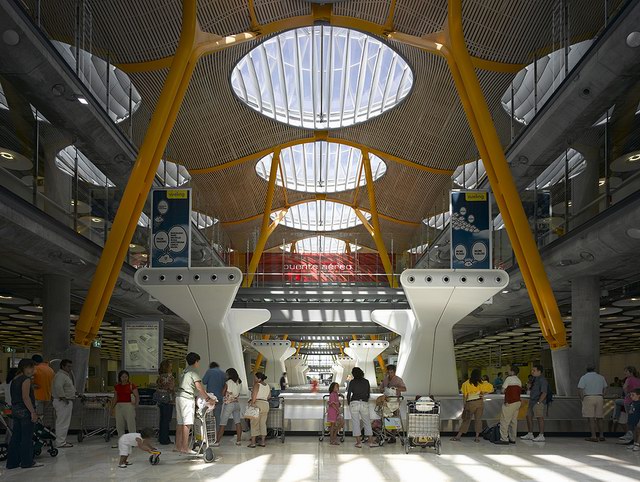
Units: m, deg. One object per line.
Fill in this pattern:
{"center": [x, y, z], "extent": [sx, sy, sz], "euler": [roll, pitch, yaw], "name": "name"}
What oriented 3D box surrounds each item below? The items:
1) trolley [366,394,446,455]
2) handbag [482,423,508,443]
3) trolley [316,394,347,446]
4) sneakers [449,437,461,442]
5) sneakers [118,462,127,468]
{"center": [2.249, 4.764, 12.920], "extent": [1.220, 1.241, 2.119], "euler": [1, -21, 1], "name": "trolley"}
{"center": [4.916, 5.469, 14.079], "extent": [0.527, 0.609, 0.353], "euler": [1, 3, -11], "name": "handbag"}
{"center": [0.349, 5.315, 14.959], "extent": [0.771, 1.492, 0.932], "euler": [-6, -21, 10], "name": "trolley"}
{"center": [3.883, 5.643, 14.259], "extent": [0.257, 0.108, 0.144], "euler": [3, -7, 11], "name": "sneakers"}
{"center": [-4.047, 4.622, 10.294], "extent": [0.172, 0.081, 0.254], "euler": [8, -22, -20], "name": "sneakers"}
